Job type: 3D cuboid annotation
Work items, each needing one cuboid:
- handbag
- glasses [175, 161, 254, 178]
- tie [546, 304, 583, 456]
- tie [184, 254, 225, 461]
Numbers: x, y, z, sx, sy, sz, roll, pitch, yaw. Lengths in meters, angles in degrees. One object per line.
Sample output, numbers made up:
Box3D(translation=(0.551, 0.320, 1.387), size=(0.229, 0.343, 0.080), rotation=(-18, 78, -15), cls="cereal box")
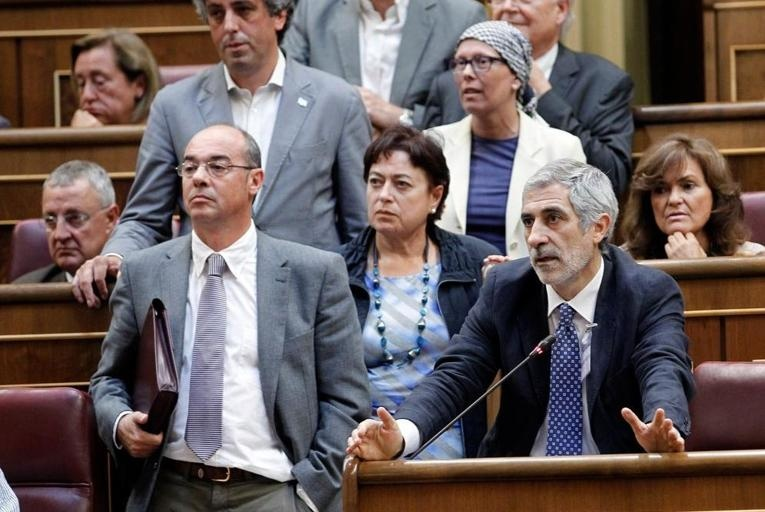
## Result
Box3D(translation=(-0.762, 0.386, 3.276), size=(0.073, 0.334, 0.369), rotation=(-4, -30, -22), cls="handbag")
Box3D(translation=(-0.589, -0.303, 3.449), size=(0.270, 0.061, 0.094), rotation=(-2, 4, 0), cls="glasses")
Box3D(translation=(0.609, 0.430, 3.322), size=(0.109, 0.607, 0.057), rotation=(4, 23, 17), cls="tie")
Box3D(translation=(-0.597, 0.371, 3.297), size=(0.138, 0.597, 0.150), rotation=(-2, 4, -7), cls="tie")
